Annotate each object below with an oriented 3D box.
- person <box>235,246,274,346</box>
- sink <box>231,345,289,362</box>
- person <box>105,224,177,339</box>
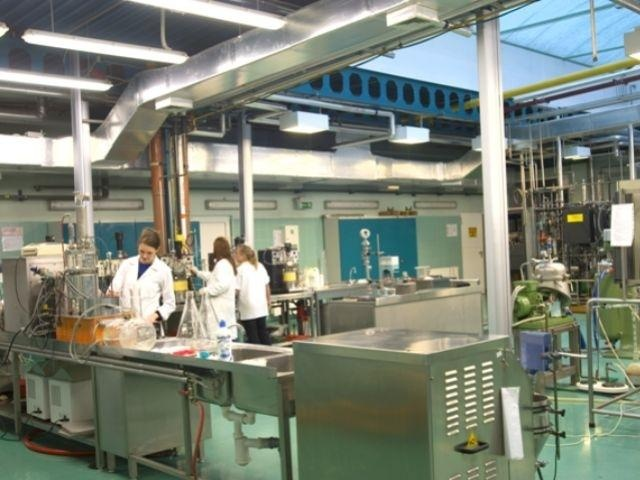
[{"bbox_3d":[-0.773,0.644,7.134,0.351,0.889,0.235,-3,-1,-7],"label":"person"},{"bbox_3d":[-0.396,0.829,4.414,0.232,0.089,0.585,-2,-1,-35],"label":"sink"},{"bbox_3d":[-1.569,0.368,5.406,0.555,0.633,0.748,-2,-1,-20],"label":"person"}]
